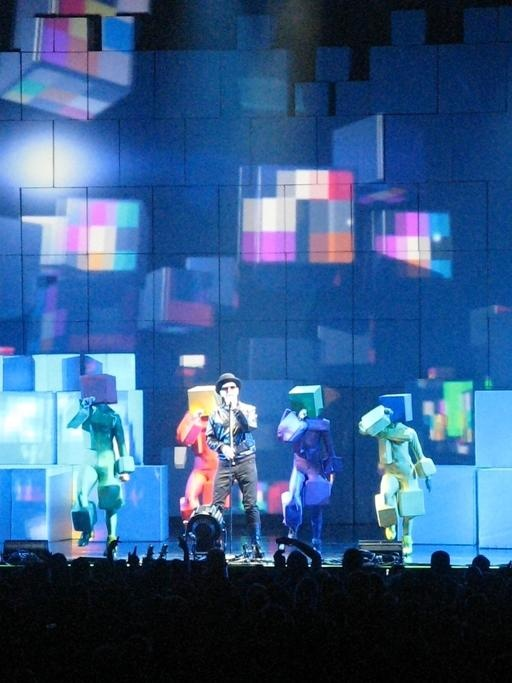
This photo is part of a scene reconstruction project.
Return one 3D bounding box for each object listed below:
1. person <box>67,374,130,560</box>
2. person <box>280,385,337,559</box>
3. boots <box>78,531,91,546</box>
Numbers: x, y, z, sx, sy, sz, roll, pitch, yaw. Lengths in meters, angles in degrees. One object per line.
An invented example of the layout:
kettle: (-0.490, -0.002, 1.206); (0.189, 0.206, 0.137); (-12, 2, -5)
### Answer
person: (-1.230, 0.997, 12.708); (0.504, 1.398, 0.741); (-2, 21, -9)
person: (0.423, 1.133, 12.973); (0.484, 1.480, 1.090); (1, 21, 1)
boots: (-1.352, 1.572, 12.588); (0.061, 0.075, 0.170); (5, 8, -7)
